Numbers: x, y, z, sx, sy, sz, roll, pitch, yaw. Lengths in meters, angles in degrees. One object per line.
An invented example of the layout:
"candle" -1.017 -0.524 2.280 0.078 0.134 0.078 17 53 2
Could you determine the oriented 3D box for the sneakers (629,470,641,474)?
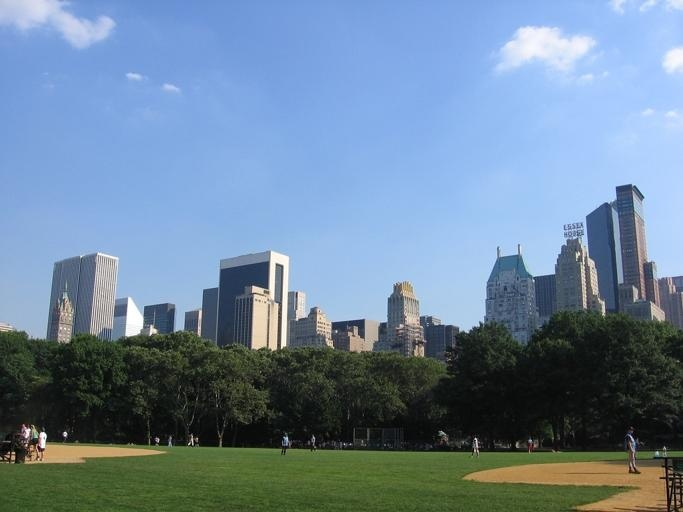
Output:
"sneakers" 19.979 14.750 47.223 0.654 0.298 0.244 -2 -9 10
